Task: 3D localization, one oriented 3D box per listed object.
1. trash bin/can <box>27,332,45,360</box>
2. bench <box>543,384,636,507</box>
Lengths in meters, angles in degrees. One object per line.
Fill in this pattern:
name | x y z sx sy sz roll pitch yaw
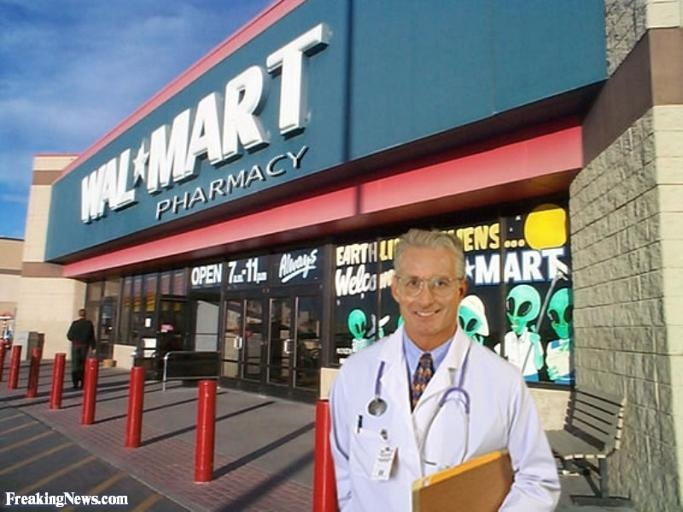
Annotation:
trash bin/can | -13.748 4.035 23.339 0.668 1.214 1.114 2 -9 -28
bench | 3.033 2.309 6.235 0.671 1.041 1.582 2 -15 2
